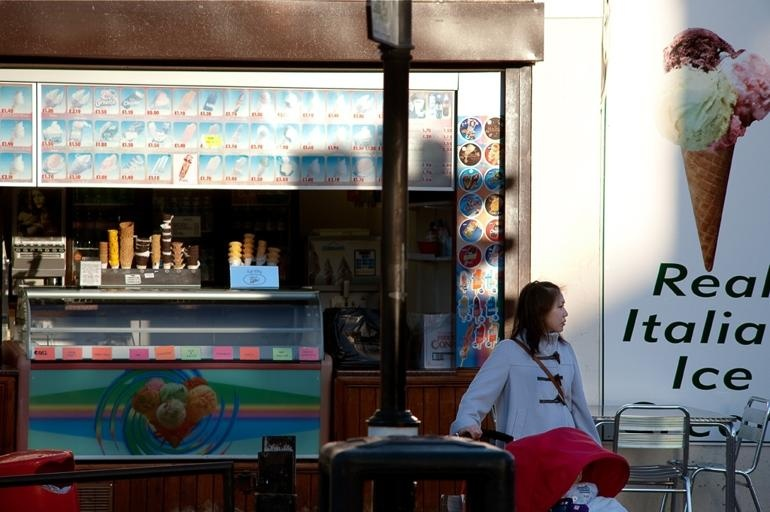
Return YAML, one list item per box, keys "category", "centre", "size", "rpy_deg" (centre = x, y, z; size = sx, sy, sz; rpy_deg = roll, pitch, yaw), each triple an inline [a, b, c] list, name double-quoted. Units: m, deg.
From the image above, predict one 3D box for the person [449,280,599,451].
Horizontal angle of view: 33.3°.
- category: "person"
  centre: [1.108, 0.938, 10.838]
  size: [1.194, 1.553, 0.511]
  rpy_deg: [7, -15, -16]
